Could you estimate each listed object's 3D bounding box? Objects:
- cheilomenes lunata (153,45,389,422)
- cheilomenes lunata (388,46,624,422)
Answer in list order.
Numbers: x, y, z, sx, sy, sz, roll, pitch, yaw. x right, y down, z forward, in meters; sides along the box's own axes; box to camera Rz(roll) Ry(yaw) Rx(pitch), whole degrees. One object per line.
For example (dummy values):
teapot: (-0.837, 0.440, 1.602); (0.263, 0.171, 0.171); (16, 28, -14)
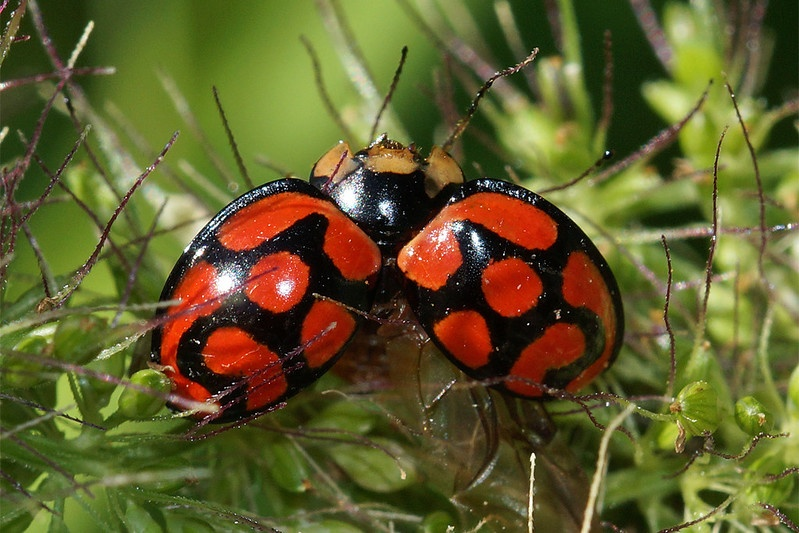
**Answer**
cheilomenes lunata: (-0.153, 0.039, 0.875); (0.273, 0.104, 0.197); (-44, 79, -8)
cheilomenes lunata: (0.133, 0.034, 0.906); (0.258, 0.101, 0.206); (41, 82, 10)
